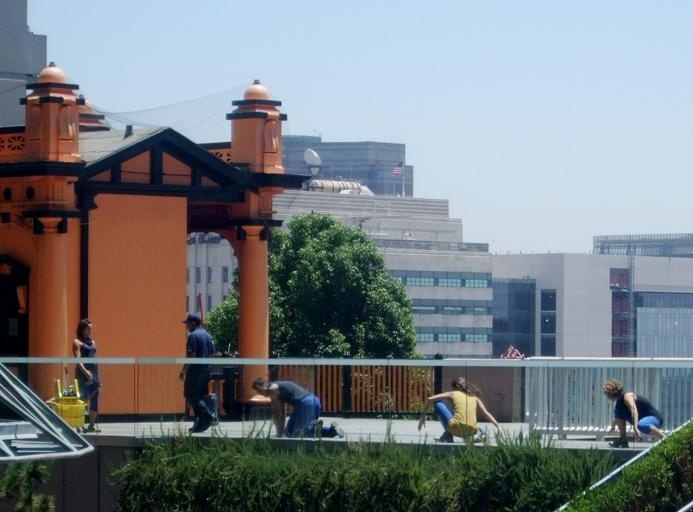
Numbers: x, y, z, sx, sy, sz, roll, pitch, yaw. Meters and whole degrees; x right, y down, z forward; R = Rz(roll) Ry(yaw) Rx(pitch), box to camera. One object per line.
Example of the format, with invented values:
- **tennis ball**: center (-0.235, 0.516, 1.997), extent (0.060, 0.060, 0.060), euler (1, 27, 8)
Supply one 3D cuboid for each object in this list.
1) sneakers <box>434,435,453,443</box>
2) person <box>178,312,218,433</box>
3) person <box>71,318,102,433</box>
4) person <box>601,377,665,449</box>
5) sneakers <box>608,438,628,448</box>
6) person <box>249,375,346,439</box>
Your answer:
- **sneakers**: center (1.944, 3.786, 44.824), extent (0.378, 0.152, 0.133), euler (0, -4, 14)
- **person**: center (-3.088, 2.454, 45.441), extent (0.715, 2.465, 0.984), euler (-1, -4, -5)
- **person**: center (-5.309, 2.517, 45.480), extent (0.687, 2.319, 0.824), euler (0, 2, 28)
- **person**: center (5.816, 3.266, 45.190), extent (1.108, 1.373, 1.121), euler (4, -9, -45)
- **sneakers**: center (5.482, 3.861, 44.807), extent (0.347, 0.146, 0.174), euler (4, -2, -2)
- **person**: center (-1.174, 3.188, 45.003), extent (1.256, 1.151, 0.368), euler (-1, -4, -5)
